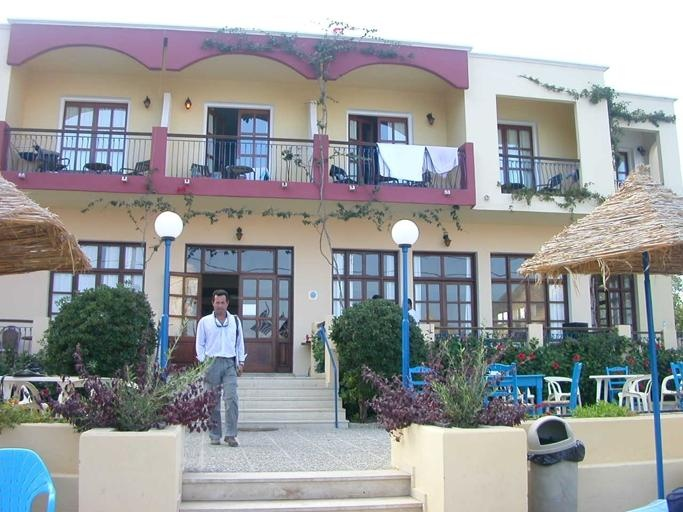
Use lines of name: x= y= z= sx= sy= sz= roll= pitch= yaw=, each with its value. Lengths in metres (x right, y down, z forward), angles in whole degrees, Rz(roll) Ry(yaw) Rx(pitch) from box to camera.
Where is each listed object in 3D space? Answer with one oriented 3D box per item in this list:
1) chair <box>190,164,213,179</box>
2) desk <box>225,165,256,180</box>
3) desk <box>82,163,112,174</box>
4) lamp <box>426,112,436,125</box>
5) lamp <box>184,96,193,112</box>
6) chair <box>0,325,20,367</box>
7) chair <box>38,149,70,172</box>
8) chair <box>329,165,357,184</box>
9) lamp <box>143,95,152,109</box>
chair: x=-3.416 y=-2.059 z=15.871 sx=0.471 sy=0.364 sz=0.291 roll=3 pitch=-8 yaw=-21
desk: x=-2.461 y=-1.975 z=15.822 sx=0.719 sy=0.350 sz=0.918 roll=1 pitch=-8 yaw=-10
desk: x=-5.838 y=-2.079 z=15.568 sx=0.611 sy=0.258 sz=0.391 roll=4 pitch=-8 yaw=-26
lamp: x=2.408 y=-3.687 z=17.513 sx=0.237 sy=0.297 sz=0.266 roll=-3 pitch=-7 yaw=16
lamp: x=-3.908 y=-3.867 z=16.628 sx=0.113 sy=0.309 sz=0.209 roll=-7 pitch=-14 yaw=26
chair: x=-6.969 y=1.916 z=13.648 sx=0.348 sy=0.851 sz=1.374 roll=3 pitch=-8 yaw=-26
chair: x=-6.929 y=-2.222 z=15.526 sx=0.588 sy=0.529 sz=0.989 roll=1 pitch=-8 yaw=-8
chair: x=0.046 y=-2.030 z=16.388 sx=0.302 sy=0.424 sz=0.946 roll=0 pitch=0 yaw=27
lamp: x=-4.945 y=-3.909 z=16.554 sx=0.180 sy=0.344 sz=0.102 roll=3 pitch=-8 yaw=-25
